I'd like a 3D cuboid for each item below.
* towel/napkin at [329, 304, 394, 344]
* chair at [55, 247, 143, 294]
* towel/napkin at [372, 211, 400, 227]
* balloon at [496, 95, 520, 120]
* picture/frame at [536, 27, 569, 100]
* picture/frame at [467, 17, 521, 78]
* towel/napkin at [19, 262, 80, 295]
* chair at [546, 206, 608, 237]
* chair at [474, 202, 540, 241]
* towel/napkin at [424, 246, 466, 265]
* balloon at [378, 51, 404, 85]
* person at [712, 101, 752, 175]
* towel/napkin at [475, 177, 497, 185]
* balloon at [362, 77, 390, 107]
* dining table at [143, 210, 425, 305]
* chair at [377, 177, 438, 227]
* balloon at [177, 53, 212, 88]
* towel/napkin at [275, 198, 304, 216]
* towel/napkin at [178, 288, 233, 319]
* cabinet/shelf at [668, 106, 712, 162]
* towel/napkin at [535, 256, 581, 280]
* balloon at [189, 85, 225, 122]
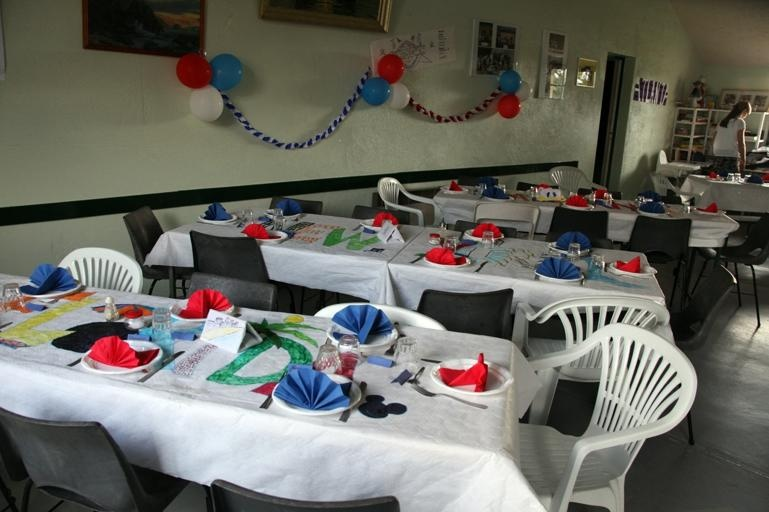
[{"bbox_3d":[-0.140,0.366,2.510,0.337,0.126,0.348,-11,21,4],"label":"towel/napkin"},{"bbox_3d":[-1.916,0.104,3.312,0.292,0.332,0.246,18,19,-7],"label":"chair"},{"bbox_3d":[-0.004,-0.328,4.371,0.198,0.114,0.257,0,3,2],"label":"towel/napkin"},{"bbox_3d":[1.885,-2.231,7.507,0.366,0.396,0.353,1,-6,0],"label":"balloon"},{"bbox_3d":[2.807,-3.285,8.259,0.075,1.136,1.091,16,22,40],"label":"picture/frame"},{"bbox_3d":[1.624,-3.166,7.410,1.079,0.786,0.077,-10,22,-40],"label":"picture/frame"},{"bbox_3d":[-2.007,0.146,2.923,0.227,0.084,0.209,11,9,10],"label":"towel/napkin"},{"bbox_3d":[2.022,-0.352,5.073,0.498,0.215,0.492,7,15,28],"label":"chair"},{"bbox_3d":[1.324,-0.460,5.231,0.515,0.277,0.502,7,24,12],"label":"chair"},{"bbox_3d":[0.458,0.007,3.606,0.174,0.061,0.173,11,12,30],"label":"towel/napkin"},{"bbox_3d":[0.045,-2.349,6.134,0.352,0.341,0.470,-22,35,-39],"label":"balloon"},{"bbox_3d":[6.368,-2.176,8.944,0.611,1.225,2.485,14,23,32],"label":"person"},{"bbox_3d":[1.286,-0.950,6.236,0.212,0.078,0.198,5,9,22],"label":"towel/napkin"},{"bbox_3d":[-0.117,-2.045,6.146,0.378,0.288,0.301,13,5,35],"label":"balloon"},{"bbox_3d":[-0.724,-0.035,3.966,1.622,0.266,0.967,10,22,24],"label":"dining table"},{"bbox_3d":[0.261,-0.661,6.027,0.589,0.745,0.513,25,45,29],"label":"chair"},{"bbox_3d":[-1.869,-1.829,4.862,0.362,0.341,0.189,5,3,-10],"label":"balloon"},{"bbox_3d":[-0.924,-0.495,4.685,0.198,0.082,0.207,-7,18,-29],"label":"towel/napkin"},{"bbox_3d":[-0.979,0.263,2.696,0.190,0.073,0.177,15,23,34],"label":"towel/napkin"},{"bbox_3d":[7.897,-3.156,12.632,1.394,1.343,0.696,-13,24,-34],"label":"cabinet/shelf"},{"bbox_3d":[1.224,0.086,3.440,0.323,0.119,0.163,1,19,0],"label":"towel/napkin"},{"bbox_3d":[-1.892,-1.606,5.199,0.349,0.337,0.208,29,2,-25],"label":"balloon"}]
